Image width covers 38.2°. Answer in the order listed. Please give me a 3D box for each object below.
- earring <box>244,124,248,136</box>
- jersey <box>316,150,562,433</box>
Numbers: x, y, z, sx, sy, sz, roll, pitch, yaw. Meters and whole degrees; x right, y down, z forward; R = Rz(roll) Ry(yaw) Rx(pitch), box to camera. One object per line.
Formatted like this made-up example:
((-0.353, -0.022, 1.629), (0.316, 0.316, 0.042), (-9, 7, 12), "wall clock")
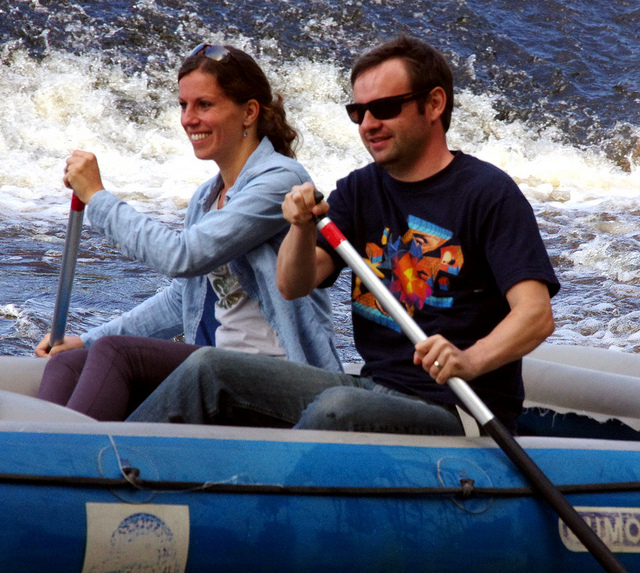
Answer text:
((-0.185, -0.391, 2.318), (0.008, 0.028, 0.005), (-11, 29, -44), "earring")
((0.234, -0.015, 2.104), (0.289, 0.574, 0.573), (-6, 24, -38), "jersey")
